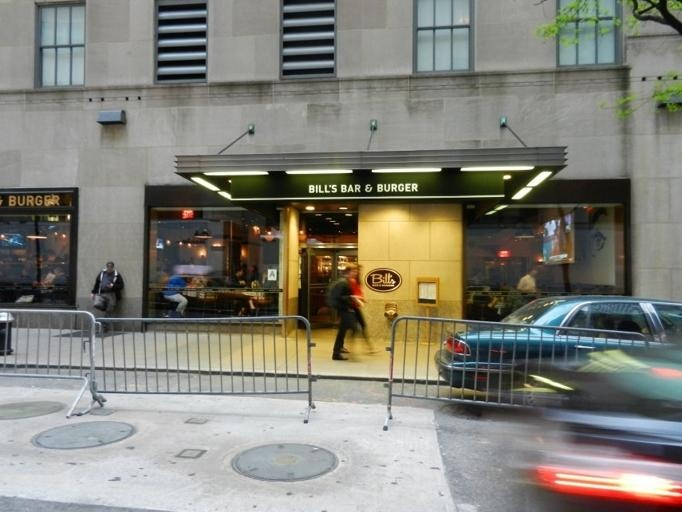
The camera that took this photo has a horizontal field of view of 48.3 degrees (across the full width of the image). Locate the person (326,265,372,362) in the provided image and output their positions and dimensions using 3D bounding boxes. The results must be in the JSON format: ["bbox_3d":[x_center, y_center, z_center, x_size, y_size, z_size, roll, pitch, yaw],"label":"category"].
[{"bbox_3d":[0.177,1.260,17.041,0.891,2.108,0.791,0,-3,-1],"label":"person"}]

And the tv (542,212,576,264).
[{"bbox_3d":[5.396,-0.464,18.797,0.726,1.282,0.199,-1,-3,27],"label":"tv"}]

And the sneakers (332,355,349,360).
[{"bbox_3d":[-0.005,2.239,16.741,0.363,0.148,0.121,-3,-1,-3],"label":"sneakers"}]

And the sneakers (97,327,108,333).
[{"bbox_3d":[-4.368,1.371,13.957,0.212,0.103,0.270,0,-10,-2],"label":"sneakers"}]

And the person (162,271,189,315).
[{"bbox_3d":[-4.320,0.969,19.899,0.654,1.142,0.248,-1,-3,20],"label":"person"}]

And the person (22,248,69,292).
[{"bbox_3d":[-7.855,0.391,20.399,1.236,1.058,0.635,-1,-6,3],"label":"person"}]

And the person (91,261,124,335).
[{"bbox_3d":[-6.011,0.848,19.674,0.825,1.439,0.625,1,-3,-18],"label":"person"}]
